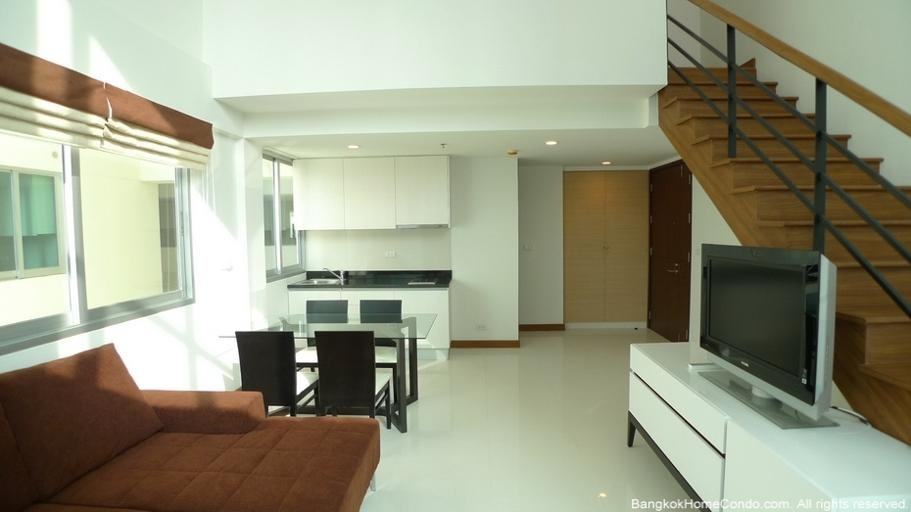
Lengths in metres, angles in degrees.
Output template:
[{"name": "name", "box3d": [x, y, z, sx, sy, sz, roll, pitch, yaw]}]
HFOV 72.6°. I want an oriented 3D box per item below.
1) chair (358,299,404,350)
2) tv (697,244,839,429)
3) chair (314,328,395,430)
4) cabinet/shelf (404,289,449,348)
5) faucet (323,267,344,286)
[{"name": "chair", "box3d": [-0.877, 0.788, 7.068, 0.761, 0.629, 0.515, 0, -3, 3]}, {"name": "tv", "box3d": [2.701, 0.579, 5.300, 0.563, 1.339, 1.487, -2, 6, -8]}, {"name": "chair", "box3d": [-0.970, 1.392, 6.417, 0.800, 1.176, 0.892, -8, -13, 29]}, {"name": "cabinet/shelf", "box3d": [-0.484, 0.817, 8.622, 0.741, 0.880, 0.483, -5, -27, 8]}, {"name": "faucet", "box3d": [-1.758, 0.280, 8.969, 0.299, 0.241, 0.076, 2, 12, 17]}]
